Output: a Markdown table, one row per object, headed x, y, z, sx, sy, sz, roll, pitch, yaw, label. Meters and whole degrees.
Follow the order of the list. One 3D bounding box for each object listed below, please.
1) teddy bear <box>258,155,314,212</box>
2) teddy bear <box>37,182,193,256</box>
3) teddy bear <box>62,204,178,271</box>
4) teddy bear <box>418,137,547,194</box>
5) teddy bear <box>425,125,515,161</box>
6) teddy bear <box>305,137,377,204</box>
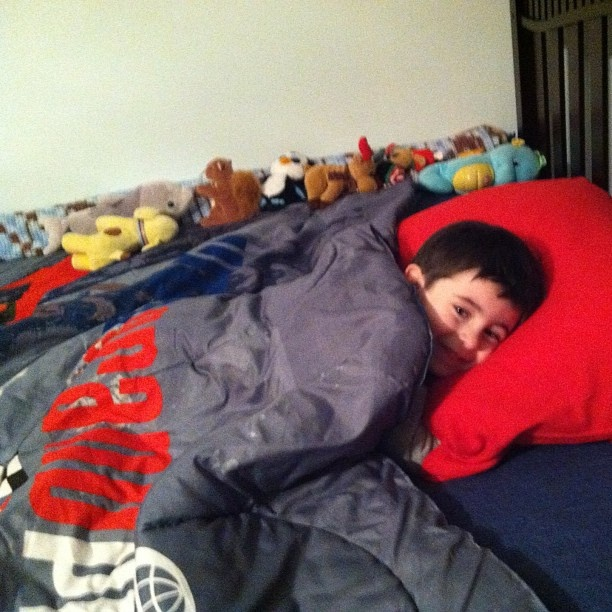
| x | y | z | sx | sy | sz | roll | pitch | yaw | label |
| --- | --- | --- | --- | --- | --- | --- | --- | --- | --- |
| -0.050 | -0.330 | 1.432 | 0.139 | 0.083 | 0.143 | 10 | 68 | 12 | teddy bear |
| -0.492 | -0.263 | 1.387 | 0.302 | 0.112 | 0.214 | -22 | 32 | 5 | teddy bear |
| -0.456 | -0.160 | 1.327 | 0.237 | 0.076 | 0.151 | -17 | 33 | 8 | teddy bear |
| 0.509 | -0.392 | 1.567 | 0.359 | 0.160 | 0.176 | -14 | 19 | 1 | teddy bear |
| 0.508 | -0.505 | 1.629 | 0.292 | 0.101 | 0.076 | -17 | 25 | -6 | teddy bear |
| 0.093 | -0.396 | 1.471 | 0.209 | 0.185 | 0.105 | -13 | 46 | -6 | teddy bear |
